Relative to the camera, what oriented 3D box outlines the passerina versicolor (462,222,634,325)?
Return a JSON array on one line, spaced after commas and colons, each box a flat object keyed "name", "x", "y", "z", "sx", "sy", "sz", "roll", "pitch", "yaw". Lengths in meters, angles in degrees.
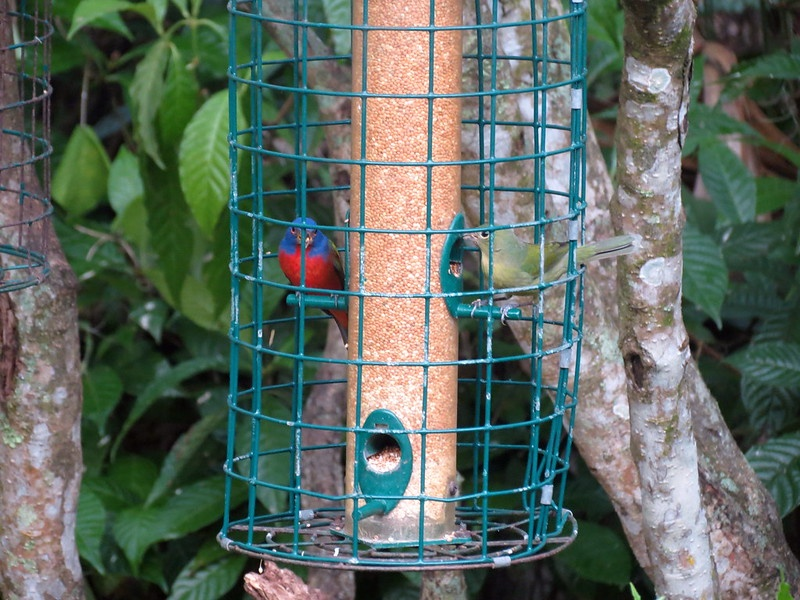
[{"name": "passerina versicolor", "x": 0.612, "y": -0.221, "z": 5.628, "sx": 0.786, "sy": 0.510, "sz": 0.328, "roll": -4, "pitch": 58, "yaw": 17}]
